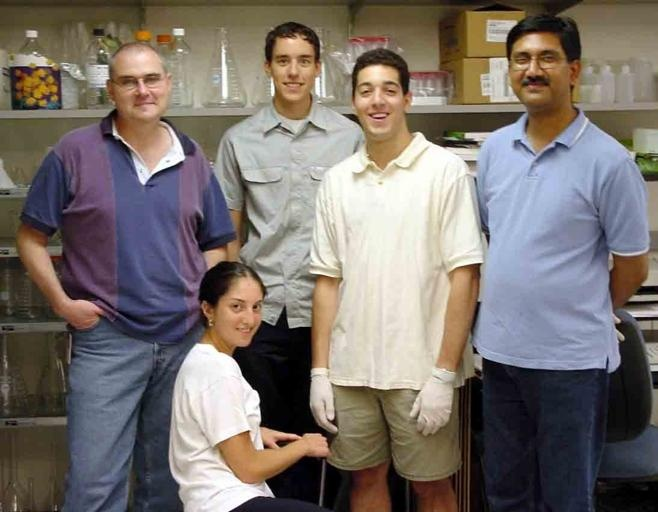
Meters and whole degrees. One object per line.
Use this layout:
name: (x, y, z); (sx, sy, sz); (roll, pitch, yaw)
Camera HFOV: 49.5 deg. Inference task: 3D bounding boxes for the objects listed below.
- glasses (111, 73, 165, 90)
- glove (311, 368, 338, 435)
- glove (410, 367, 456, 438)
glasses: (-0.624, -0.571, 2.349); (0.158, 0.051, 0.049); (-5, 6, -19)
glove: (-0.032, 0.506, 2.469); (0.114, 0.202, 0.055); (-29, -26, 35)
glove: (0.344, 0.472, 2.336); (0.135, 0.220, 0.066); (14, 10, 8)
